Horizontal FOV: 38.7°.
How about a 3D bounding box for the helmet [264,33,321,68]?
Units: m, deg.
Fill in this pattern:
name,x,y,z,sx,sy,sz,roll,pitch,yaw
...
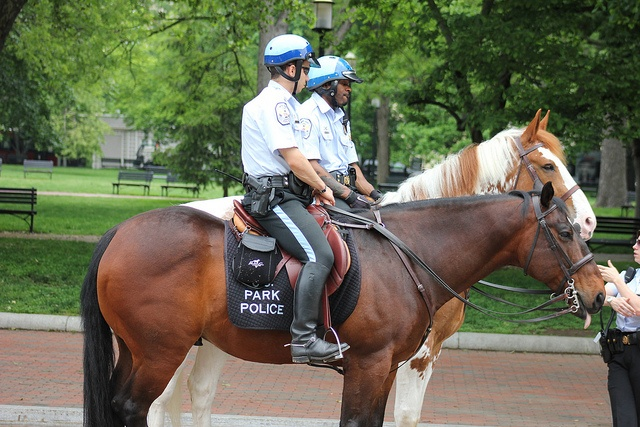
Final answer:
name,x,y,z,sx,sy,sz,roll,pitch,yaw
helmet,-0.467,-2.341,13.220,0.608,0.315,0.440,0,2,-2
